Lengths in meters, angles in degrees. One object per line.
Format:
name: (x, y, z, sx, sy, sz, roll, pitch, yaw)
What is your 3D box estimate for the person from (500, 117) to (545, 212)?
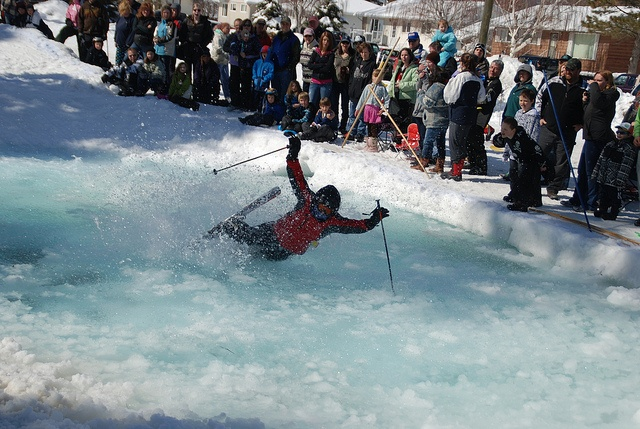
person: (3.545, -0.866, 9.910, 0.891, 1.569, 0.526, 8, 11, 11)

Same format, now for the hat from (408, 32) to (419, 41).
hat: (2.043, -3.879, 12.350, 0.230, 0.159, 0.364, 9, 2, 12)

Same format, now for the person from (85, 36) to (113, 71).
person: (-6.254, -4.640, 16.016, 0.802, 0.713, 1.108, -6, 25, -36)

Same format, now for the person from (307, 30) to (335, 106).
person: (0.026, -3.484, 13.480, 0.619, 1.706, 0.396, 7, 10, 8)

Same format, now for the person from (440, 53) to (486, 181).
person: (2.755, -1.879, 11.085, 0.752, 2.445, 0.442, 1, 12, -26)

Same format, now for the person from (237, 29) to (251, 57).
person: (-1.839, -4.150, 13.773, 0.217, 0.710, 0.237, 4, 11, -11)

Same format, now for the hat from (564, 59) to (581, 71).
hat: (4.401, -2.597, 9.806, 0.246, 0.131, 0.174, -7, 28, -37)

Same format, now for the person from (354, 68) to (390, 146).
person: (1.229, -2.409, 13.034, 0.589, 1.867, 0.968, 0, 12, -30)

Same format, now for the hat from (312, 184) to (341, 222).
hat: (0.067, -0.154, 7.760, 0.388, 0.502, 0.189, 5, 10, -2)

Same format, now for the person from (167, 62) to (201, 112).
person: (-3.343, -3.182, 13.937, 1.155, 0.989, 0.732, 25, 30, 30)

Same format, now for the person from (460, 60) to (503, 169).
person: (3.512, -2.177, 12.371, 0.805, 2.398, 0.785, 13, 19, 8)

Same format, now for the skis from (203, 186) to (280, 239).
skis: (-1.292, -0.014, 9.151, 1.301, 0.216, 0.153, -34, 41, -17)

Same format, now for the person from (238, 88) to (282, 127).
person: (-1.344, -2.547, 13.490, 1.118, 0.818, 0.586, -9, 16, -37)

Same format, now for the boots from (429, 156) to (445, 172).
boots: (2.446, -1.063, 11.773, 0.376, 0.359, 0.178, 7, 34, 8)

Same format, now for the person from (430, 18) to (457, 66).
person: (2.853, -3.851, 12.953, 0.630, 1.106, 0.568, -28, 36, -35)

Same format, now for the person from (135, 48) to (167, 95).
person: (-4.372, -3.649, 14.398, 0.957, 1.143, 0.795, 1, 18, -25)

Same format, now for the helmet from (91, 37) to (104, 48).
helmet: (-6.095, -4.713, 15.534, 0.265, 0.315, 0.301, -1, 21, -8)

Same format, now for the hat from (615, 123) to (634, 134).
hat: (5.182, -1.469, 9.599, 0.263, 0.194, 0.339, 10, 12, 25)

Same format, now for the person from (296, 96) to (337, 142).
person: (-0.005, -2.178, 13.025, 0.847, 0.977, 0.591, 5, 10, -5)

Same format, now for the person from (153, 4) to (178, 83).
person: (-3.893, -4.217, 14.179, 0.570, 1.974, 0.450, 5, 10, -5)

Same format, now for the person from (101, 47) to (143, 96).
person: (-4.983, -3.707, 14.590, 0.896, 1.137, 0.900, 11, 7, 20)
